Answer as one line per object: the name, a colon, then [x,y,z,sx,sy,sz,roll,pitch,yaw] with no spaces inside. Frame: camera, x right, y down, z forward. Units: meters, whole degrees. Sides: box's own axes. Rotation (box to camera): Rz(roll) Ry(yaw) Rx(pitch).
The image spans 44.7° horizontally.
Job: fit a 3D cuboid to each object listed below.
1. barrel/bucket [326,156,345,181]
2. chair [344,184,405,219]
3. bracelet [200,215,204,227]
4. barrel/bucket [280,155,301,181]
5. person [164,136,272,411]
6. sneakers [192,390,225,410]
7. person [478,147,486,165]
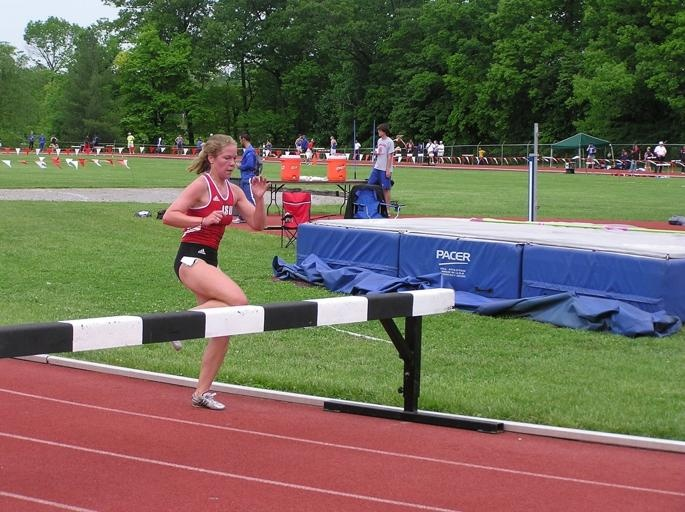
barrel/bucket: [-0.115,-1.868,17.812,0.554,0.531,0.529,0,7,0]
chair: [0.566,-0.865,14.726,0.812,0.710,0.773,-2,9,-21]
bracelet: [-1.062,-0.257,6.346,0.037,0.065,0.071,0,10,-8]
barrel/bucket: [-1.146,-1.970,18.623,0.618,0.574,0.591,0,6,0]
person: [-0.990,0.144,6.540,0.816,2.159,0.816,0,10,-11]
sneakers: [-1.057,1.143,6.591,0.316,0.124,0.112,6,4,7]
person: [10.386,-7.377,62.156,0.561,1.064,2.200,3,10,8]
